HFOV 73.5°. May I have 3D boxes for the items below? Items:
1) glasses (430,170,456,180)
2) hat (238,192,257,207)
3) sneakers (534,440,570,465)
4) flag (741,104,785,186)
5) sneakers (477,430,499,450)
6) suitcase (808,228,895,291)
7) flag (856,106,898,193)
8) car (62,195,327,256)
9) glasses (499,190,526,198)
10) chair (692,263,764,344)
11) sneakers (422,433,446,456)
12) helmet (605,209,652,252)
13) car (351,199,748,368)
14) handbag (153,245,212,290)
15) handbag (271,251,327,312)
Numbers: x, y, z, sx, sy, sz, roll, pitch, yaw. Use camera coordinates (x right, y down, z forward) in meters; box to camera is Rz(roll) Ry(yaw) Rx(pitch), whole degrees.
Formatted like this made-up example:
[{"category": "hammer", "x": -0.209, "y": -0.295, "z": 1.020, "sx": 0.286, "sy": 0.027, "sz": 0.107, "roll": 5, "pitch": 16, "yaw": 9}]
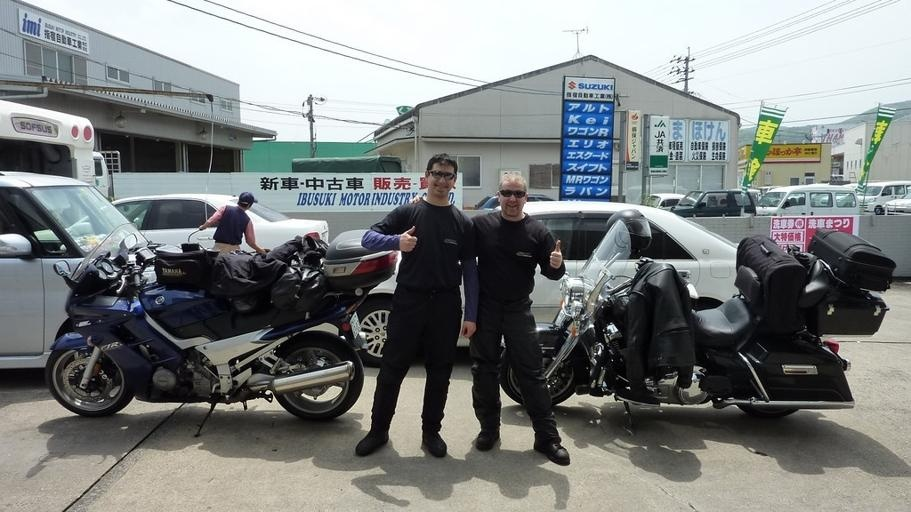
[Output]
[{"category": "glasses", "x": -0.129, "y": -0.893, "z": 6.669, "sx": 0.278, "sy": 0.103, "sz": 0.079, "roll": -2, "pitch": 10, "yaw": -21}, {"category": "hat", "x": -3.602, "y": -0.994, "z": 10.520, "sx": 0.231, "sy": 0.183, "sz": 0.328, "roll": 11, "pitch": 40, "yaw": -7}, {"category": "sneakers", "x": 1.081, "y": 2.167, "z": 6.710, "sx": 0.184, "sy": 0.162, "sz": 0.408, "roll": -3, "pitch": 6, "yaw": -37}, {"category": "flag", "x": 14.280, "y": -5.210, "z": 28.517, "sx": 1.337, "sy": 4.256, "sz": 0.109, "roll": 12, "pitch": 7, "yaw": -6}, {"category": "sneakers", "x": 0.348, "y": 2.104, "z": 6.872, "sx": 0.296, "sy": 0.160, "sz": 0.148, "roll": 1, "pitch": 0, "yaw": -6}, {"category": "suitcase", "x": 4.501, "y": 0.029, "z": 6.967, "sx": 0.768, "sy": 0.433, "sz": 0.858, "roll": 14, "pitch": 18, "yaw": -22}, {"category": "flag", "x": 21.919, "y": -5.422, "z": 32.372, "sx": 1.215, "sy": 5.331, "sz": 0.123, "roll": -4, "pitch": 30, "yaw": -17}, {"category": "car", "x": -4.313, "y": -0.668, "z": 11.333, "sx": 3.682, "sy": 1.128, "sz": 1.645, "roll": 3, "pitch": 1, "yaw": 1}, {"category": "glasses", "x": 0.631, "y": -0.695, "z": 6.772, "sx": 0.293, "sy": 0.080, "sz": 0.075, "roll": -1, "pitch": 10, "yaw": -16}, {"category": "chair", "x": 3.149, "y": 0.628, "z": 7.346, "sx": 1.043, "sy": 0.894, "sz": 0.706, "roll": -6, "pitch": 21, "yaw": 14}, {"category": "sneakers", "x": -0.234, "y": 2.114, "z": 6.798, "sx": 0.182, "sy": 0.177, "sz": 0.312, "roll": 2, "pitch": -5, "yaw": -24}, {"category": "helmet", "x": 2.003, "y": -0.287, "z": 7.282, "sx": 0.590, "sy": 0.505, "sz": 0.463, "roll": -1, "pitch": 2, "yaw": 11}, {"category": "car", "x": 1.153, "y": 0.273, "z": 8.808, "sx": 5.671, "sy": 1.667, "sz": 2.245, "roll": 1, "pitch": 2, "yaw": -2}, {"category": "handbag", "x": -3.144, "y": 0.104, "z": 7.144, "sx": 0.622, "sy": 0.413, "sz": 0.598, "roll": 1, "pitch": 3, "yaw": -9}, {"category": "handbag", "x": -1.814, "y": 0.353, "z": 7.034, "sx": 0.600, "sy": 0.556, "sz": 0.324, "roll": -1, "pitch": 10, "yaw": -14}]
